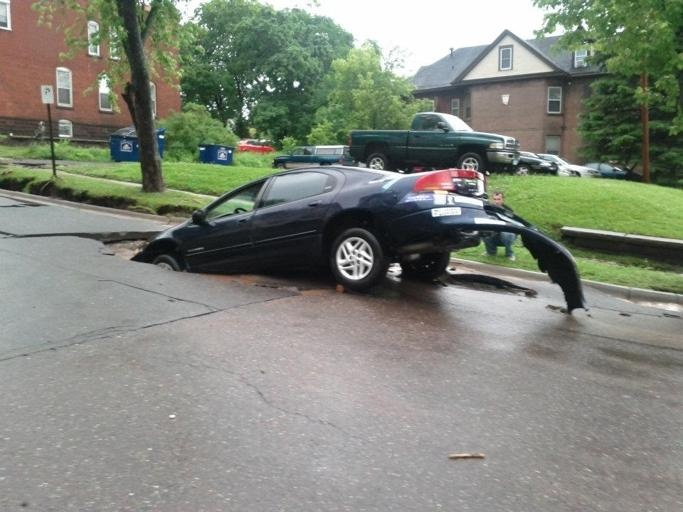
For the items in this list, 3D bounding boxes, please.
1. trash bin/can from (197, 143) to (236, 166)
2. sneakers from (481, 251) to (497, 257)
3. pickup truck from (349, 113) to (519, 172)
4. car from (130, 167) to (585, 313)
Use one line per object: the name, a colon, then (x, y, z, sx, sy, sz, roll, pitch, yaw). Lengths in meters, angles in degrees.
trash bin/can: (-7.003, -5.862, 30.634, 1.438, 0.914, 2.086, 9, 9, 43)
sneakers: (3.326, -0.040, 11.911, 0.351, 0.110, 0.134, 7, 11, 41)
pickup truck: (3.595, -3.913, 19.181, 6.663, 1.813, 2.759, 2, 6, 24)
car: (0.109, -0.396, 7.694, 5.900, 1.933, 1.217, 9, 15, 23)
